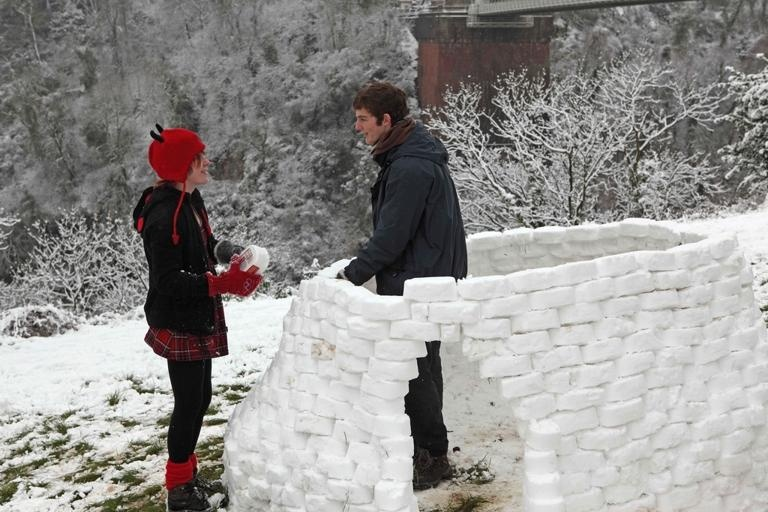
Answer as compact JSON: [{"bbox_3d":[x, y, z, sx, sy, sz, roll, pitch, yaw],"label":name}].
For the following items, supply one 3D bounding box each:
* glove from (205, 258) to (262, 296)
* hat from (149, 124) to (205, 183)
[{"bbox_3d":[-2.100,0.208,12.726,0.700,0.328,0.938,2,-26,-38],"label":"glove"},{"bbox_3d":[-3.016,-1.447,12.899,0.781,0.873,0.644,-5,5,-26],"label":"hat"}]
